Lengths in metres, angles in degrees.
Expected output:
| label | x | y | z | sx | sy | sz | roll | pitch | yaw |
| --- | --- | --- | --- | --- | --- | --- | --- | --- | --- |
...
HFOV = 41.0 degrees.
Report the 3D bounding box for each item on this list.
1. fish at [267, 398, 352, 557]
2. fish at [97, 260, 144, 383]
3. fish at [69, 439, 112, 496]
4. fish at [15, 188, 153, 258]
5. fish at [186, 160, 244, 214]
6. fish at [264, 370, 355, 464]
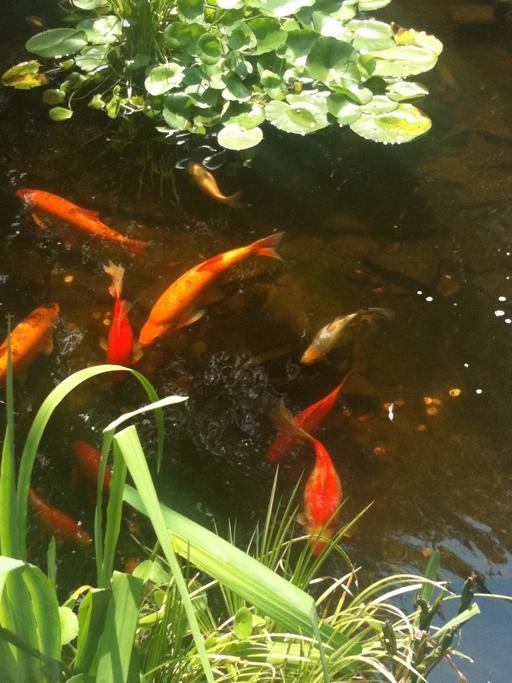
| label | x | y | z | sx | sy | sz | roll | pitch | yaw |
| --- | --- | --- | --- | --- | --- | --- | --- | --- | --- |
| fish | 0.184 | 0.485 | 2.440 | 0.258 | 0.195 | 0.433 | 13 | 72 | 2 |
| fish | -0.588 | -0.100 | 2.817 | 0.173 | 0.211 | 0.432 | -4 | 80 | -8 |
| fish | -0.620 | 0.435 | 2.504 | 0.098 | 0.124 | 0.213 | -3 | 30 | -14 |
| fish | -0.858 | -0.547 | 3.143 | 0.148 | 0.193 | 0.614 | 37 | 12 | 36 |
| fish | -0.195 | -0.752 | 3.385 | 0.171 | 0.087 | 0.280 | -35 | 70 | -18 |
| fish | 0.215 | 0.316 | 2.713 | 0.324 | 0.159 | 0.088 | -45 | 52 | -4 |
